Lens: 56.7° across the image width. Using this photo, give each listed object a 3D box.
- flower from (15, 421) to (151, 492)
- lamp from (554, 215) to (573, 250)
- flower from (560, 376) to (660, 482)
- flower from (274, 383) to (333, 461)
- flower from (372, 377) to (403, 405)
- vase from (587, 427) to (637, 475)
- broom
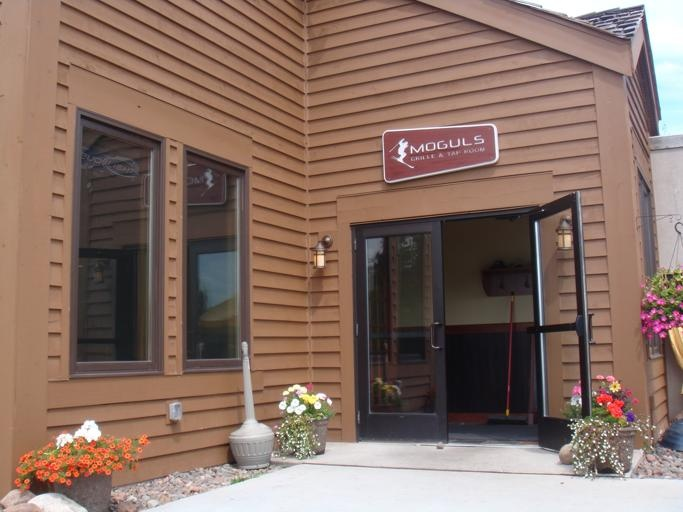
[{"bbox_3d":[-1.834,1.390,4.398,0.544,0.215,0.656,0,-2,32],"label":"flower"},{"bbox_3d":[2.057,-0.210,5.864,0.207,0.286,0.219,1,4,11],"label":"lamp"},{"bbox_3d":[2.246,1.407,5.427,0.711,1.036,0.780,3,-7,-24],"label":"flower"},{"bbox_3d":[-0.349,1.575,6.088,0.545,0.653,0.406,1,-9,-20],"label":"flower"},{"bbox_3d":[0.465,1.424,6.732,0.255,0.212,0.274,2,-7,-16],"label":"flower"},{"bbox_3d":[2.135,1.534,5.056,0.346,0.291,0.347,-4,-9,20],"label":"vase"},{"bbox_3d":[2.319,1.399,8.800,0.076,1.869,0.665,-3,-17,31],"label":"broom"}]
